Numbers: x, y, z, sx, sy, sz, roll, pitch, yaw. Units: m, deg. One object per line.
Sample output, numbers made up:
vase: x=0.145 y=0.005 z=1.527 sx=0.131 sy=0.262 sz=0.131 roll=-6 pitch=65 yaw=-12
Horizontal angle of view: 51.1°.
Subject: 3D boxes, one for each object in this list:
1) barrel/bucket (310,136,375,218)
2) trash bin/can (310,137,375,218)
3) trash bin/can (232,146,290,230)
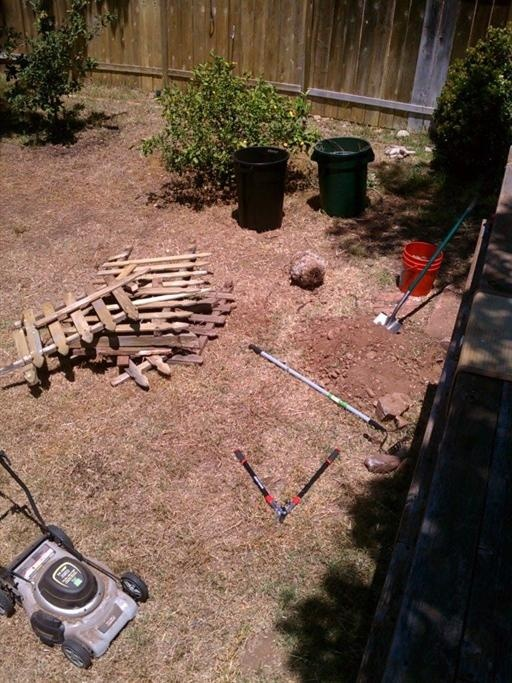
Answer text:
barrel/bucket: x=1.185 y=-2.183 z=7.130 sx=0.814 sy=0.876 sz=0.761 roll=-5 pitch=35 yaw=3
trash bin/can: x=1.196 y=-2.192 z=7.138 sx=0.806 sy=0.876 sz=0.781 roll=-24 pitch=39 yaw=-19
trash bin/can: x=0.065 y=-1.966 z=6.827 sx=0.855 sy=0.991 sz=0.743 roll=-7 pitch=38 yaw=-6
